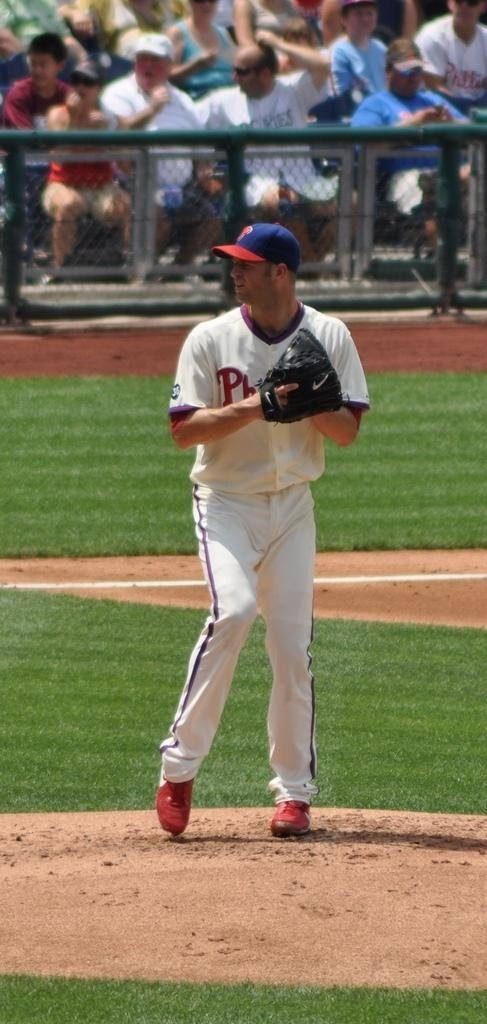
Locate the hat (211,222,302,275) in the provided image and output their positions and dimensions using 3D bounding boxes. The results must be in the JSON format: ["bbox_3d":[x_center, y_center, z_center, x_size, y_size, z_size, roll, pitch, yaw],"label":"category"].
[{"bbox_3d":[0.049,-0.739,5.682,0.204,0.152,0.146,6,5,-18],"label":"hat"}]

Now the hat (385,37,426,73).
[{"bbox_3d":[0.923,-2.571,11.093,0.161,0.266,0.225,-1,-1,-3],"label":"hat"}]

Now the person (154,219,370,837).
[{"bbox_3d":[0.055,0.056,5.697,0.632,1.777,0.441,0,5,-7],"label":"person"}]

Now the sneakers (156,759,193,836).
[{"bbox_3d":[-0.205,0.847,5.656,0.099,0.191,0.103,0,5,-2],"label":"sneakers"}]

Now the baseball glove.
[{"bbox_3d":[0.162,-0.381,5.604,0.269,0.221,0.258,0,10,2],"label":"baseball glove"}]
